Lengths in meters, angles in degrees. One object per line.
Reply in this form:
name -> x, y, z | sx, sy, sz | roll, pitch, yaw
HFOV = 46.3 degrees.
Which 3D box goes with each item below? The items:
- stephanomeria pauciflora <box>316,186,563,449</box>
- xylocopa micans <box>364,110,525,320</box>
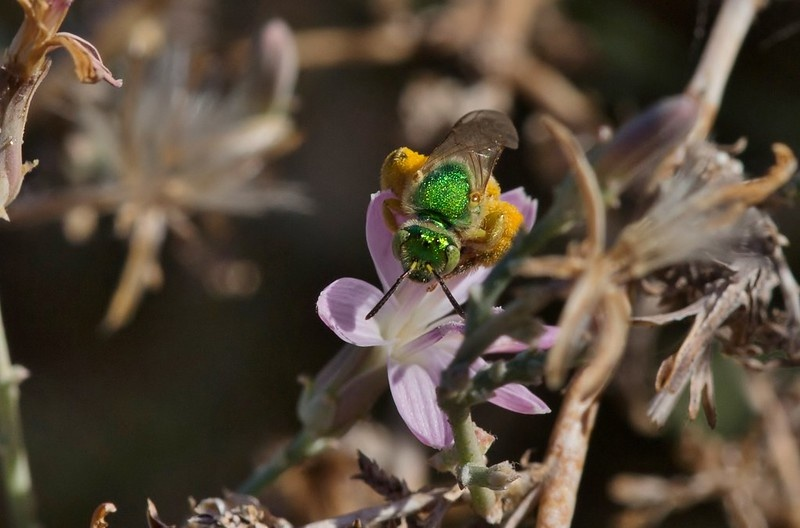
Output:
stephanomeria pauciflora -> 0.111, 0.159, 2.316 | 0.397, 0.422, 0.828 | -15, 61, 40
xylocopa micans -> 0.131, -0.115, 2.353 | 0.310, 0.140, 0.425 | 21, 81, 10
